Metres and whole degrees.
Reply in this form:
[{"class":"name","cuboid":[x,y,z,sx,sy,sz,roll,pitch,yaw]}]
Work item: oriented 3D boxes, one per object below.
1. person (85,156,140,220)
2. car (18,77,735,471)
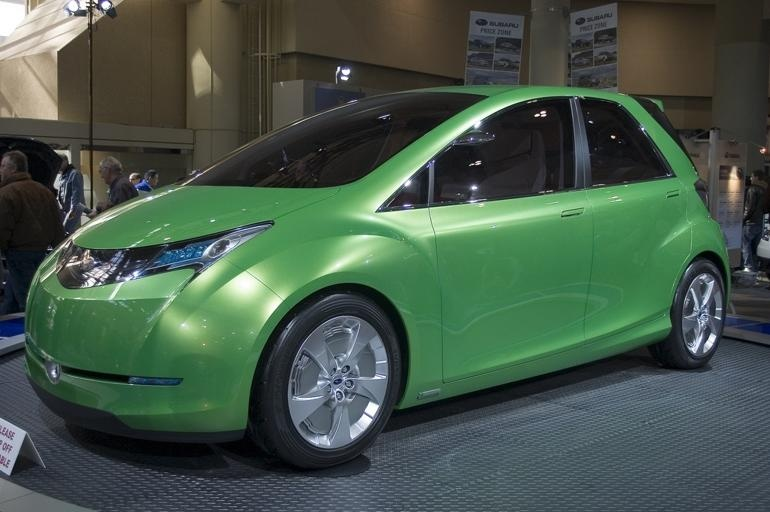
[{"class":"person","cuboid":[-4.368,-0.942,8.951,0.721,1.201,0.732,-6,23,-26]},{"class":"car","cuboid":[0.165,-0.046,3.714,3.827,1.563,1.972,-1,2,-29]}]
